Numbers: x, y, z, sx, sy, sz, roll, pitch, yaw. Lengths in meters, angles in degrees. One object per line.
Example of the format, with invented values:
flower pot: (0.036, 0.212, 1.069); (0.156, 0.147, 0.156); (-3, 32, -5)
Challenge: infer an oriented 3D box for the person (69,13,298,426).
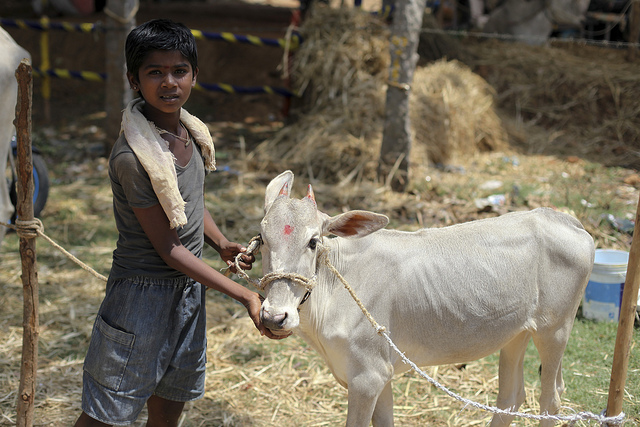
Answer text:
person: (-1.238, 0.142, 6.499); (1.016, 3.125, 0.748); (3, 15, -15)

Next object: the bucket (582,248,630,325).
bucket: (2.748, 0.712, 8.391); (0.504, 0.828, 0.453); (2, -27, -2)
